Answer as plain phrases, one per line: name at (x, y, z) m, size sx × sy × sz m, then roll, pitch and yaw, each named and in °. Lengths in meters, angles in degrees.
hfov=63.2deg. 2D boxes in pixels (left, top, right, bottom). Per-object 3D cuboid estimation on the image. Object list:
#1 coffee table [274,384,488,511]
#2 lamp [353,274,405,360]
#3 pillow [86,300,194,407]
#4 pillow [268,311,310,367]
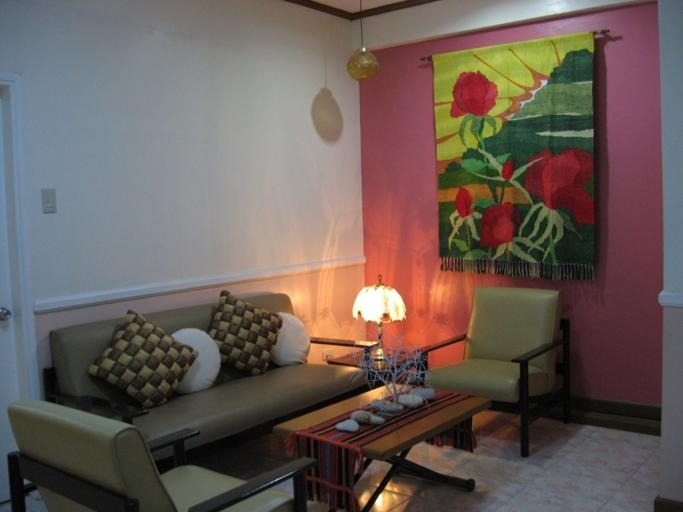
coffee table at (0.147, 0.885, 3.123) m, size 0.621 × 0.569 × 0.997 m, roll 2°, pitch 5°, yaw 38°
lamp at (0.328, 0.478, 4.677) m, size 0.537 × 0.936 × 0.577 m, roll 1°, pitch -1°, yaw 5°
pillow at (-1.233, 0.645, 3.470) m, size 0.577 × 0.531 × 0.269 m, roll -1°, pitch 6°, yaw -2°
pillow at (-0.404, 0.657, 4.322) m, size 0.322 × 0.368 × 0.170 m, roll 14°, pitch -23°, yaw -36°
